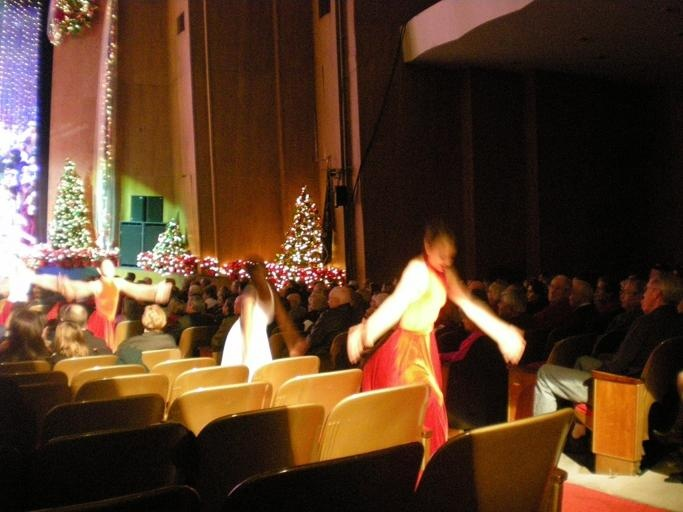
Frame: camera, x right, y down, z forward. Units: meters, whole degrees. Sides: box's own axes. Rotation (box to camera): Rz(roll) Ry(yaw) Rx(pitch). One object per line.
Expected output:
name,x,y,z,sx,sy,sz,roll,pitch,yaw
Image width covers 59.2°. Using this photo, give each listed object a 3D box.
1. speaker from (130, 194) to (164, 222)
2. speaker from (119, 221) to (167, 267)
speaker,-4.829,-1.114,15.000,0.835,0.878,0.596,1,-2,-42
speaker,-4.708,-0.233,14.251,0.966,1.050,0.478,0,2,17
